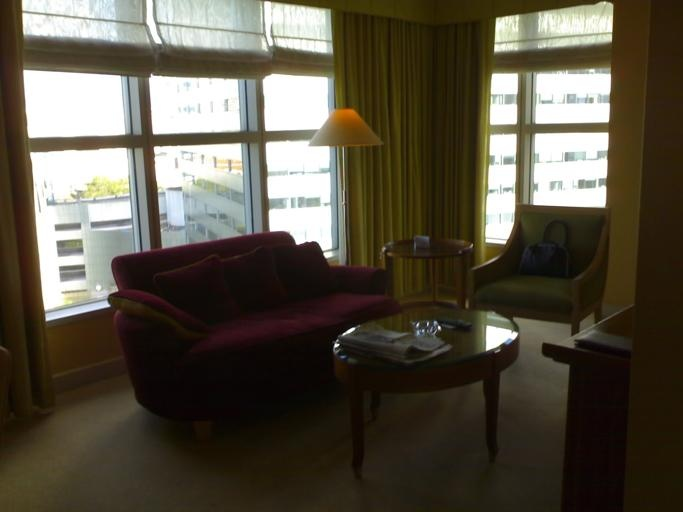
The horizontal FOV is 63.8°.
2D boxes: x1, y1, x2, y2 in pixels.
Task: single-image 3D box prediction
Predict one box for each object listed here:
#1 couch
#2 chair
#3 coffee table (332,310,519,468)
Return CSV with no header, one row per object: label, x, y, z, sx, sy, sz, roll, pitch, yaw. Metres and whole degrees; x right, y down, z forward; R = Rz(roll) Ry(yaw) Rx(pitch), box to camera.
couch,-0.639,0.398,3.839,1.759,0.833,1.145,-13,18,-37
chair,1.632,0.188,4.451,0.921,1.190,0.928,4,8,30
coffee table,0.447,0.552,2.917,0.757,0.591,0.955,1,8,28
